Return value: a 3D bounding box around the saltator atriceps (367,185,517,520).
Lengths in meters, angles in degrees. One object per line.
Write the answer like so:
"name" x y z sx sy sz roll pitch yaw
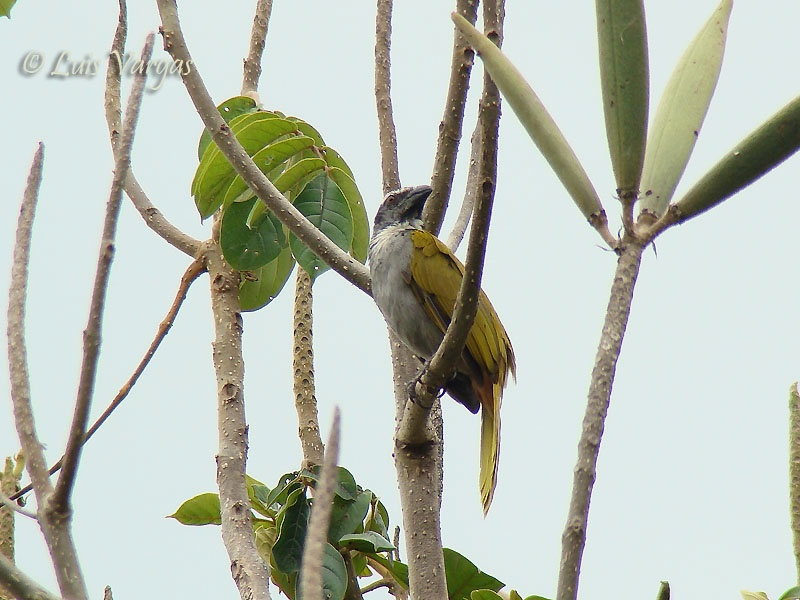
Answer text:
"saltator atriceps" 0.158 0.166 5.234 0.557 1.409 0.509 -2 -38 6
